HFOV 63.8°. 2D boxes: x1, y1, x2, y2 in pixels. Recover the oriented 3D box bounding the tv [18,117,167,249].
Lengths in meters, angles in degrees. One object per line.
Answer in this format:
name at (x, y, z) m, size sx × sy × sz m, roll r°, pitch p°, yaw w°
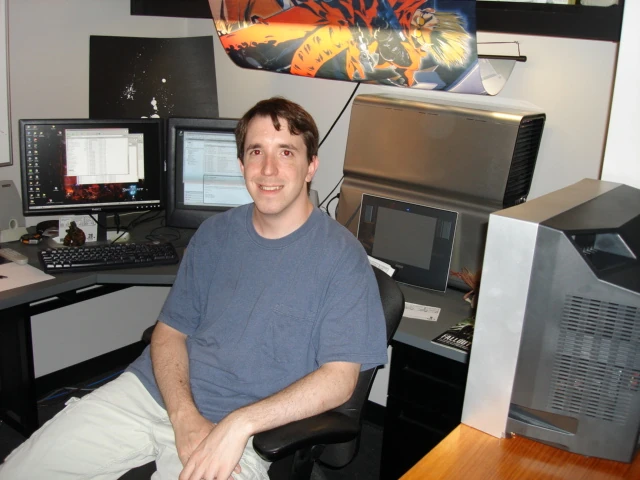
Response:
tv at (-0.965, -0.256, 2.217) m, size 0.599 × 0.541 × 0.118 m, roll -11°, pitch 20°, yaw -43°
